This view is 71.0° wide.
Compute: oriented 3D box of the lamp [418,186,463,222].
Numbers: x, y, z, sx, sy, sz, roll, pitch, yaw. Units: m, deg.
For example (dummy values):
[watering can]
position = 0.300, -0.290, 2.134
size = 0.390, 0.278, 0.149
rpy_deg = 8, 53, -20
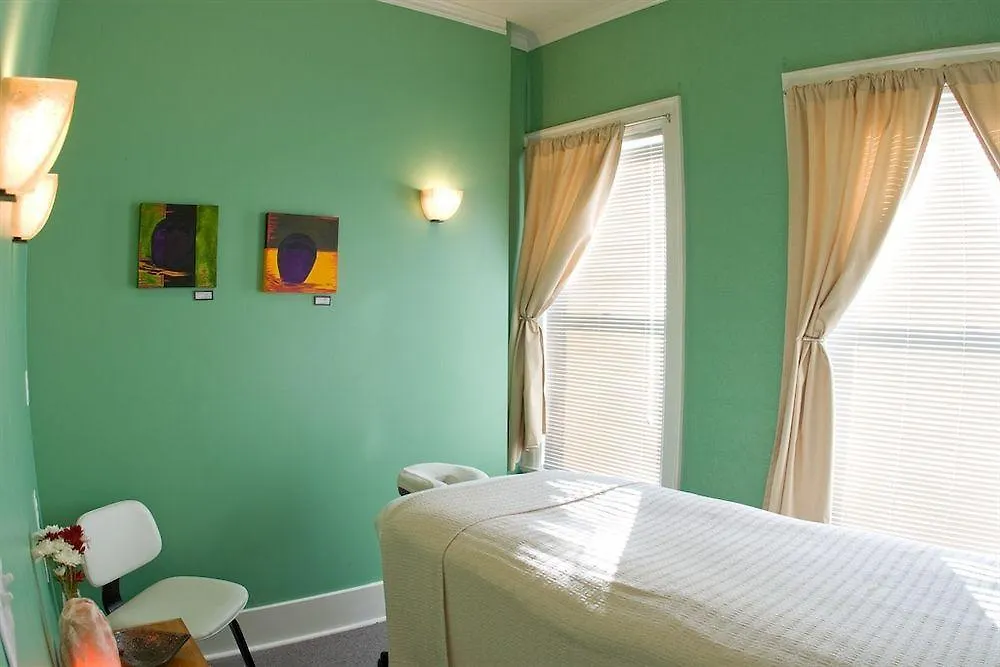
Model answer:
[lamp]
position = -0.375, -0.775, 4.192
size = 0.210, 0.160, 0.224
rpy_deg = 1, -2, 3

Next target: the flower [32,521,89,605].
[flower]
position = -1.680, 0.876, 2.664
size = 0.173, 0.280, 0.170
rpy_deg = -1, 1, -32
